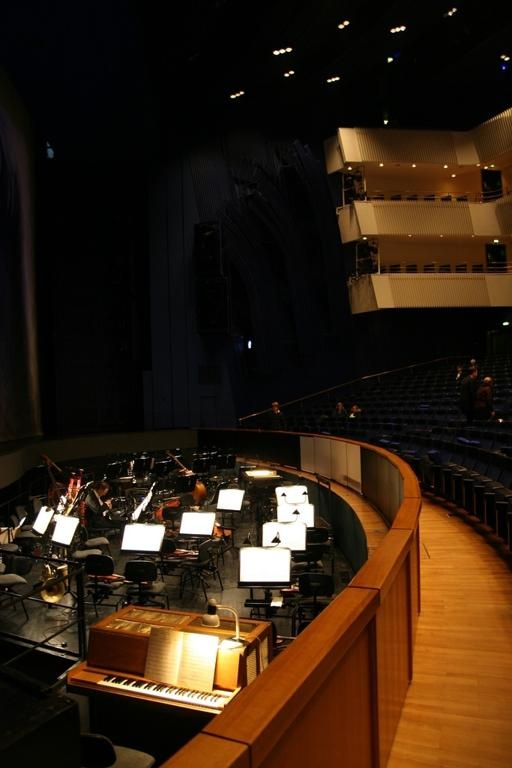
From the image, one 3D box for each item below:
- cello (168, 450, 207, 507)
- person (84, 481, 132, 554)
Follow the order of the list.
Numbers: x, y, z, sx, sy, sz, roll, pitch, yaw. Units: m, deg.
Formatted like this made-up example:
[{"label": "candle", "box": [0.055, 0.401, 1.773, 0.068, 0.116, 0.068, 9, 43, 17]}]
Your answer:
[{"label": "cello", "box": [-1.295, 1.780, 9.662, 0.227, 0.385, 0.927, 3, 39, -43]}, {"label": "person", "box": [-2.303, 1.975, 7.869, 0.638, 1.469, 0.750, 1, 1, -37]}]
